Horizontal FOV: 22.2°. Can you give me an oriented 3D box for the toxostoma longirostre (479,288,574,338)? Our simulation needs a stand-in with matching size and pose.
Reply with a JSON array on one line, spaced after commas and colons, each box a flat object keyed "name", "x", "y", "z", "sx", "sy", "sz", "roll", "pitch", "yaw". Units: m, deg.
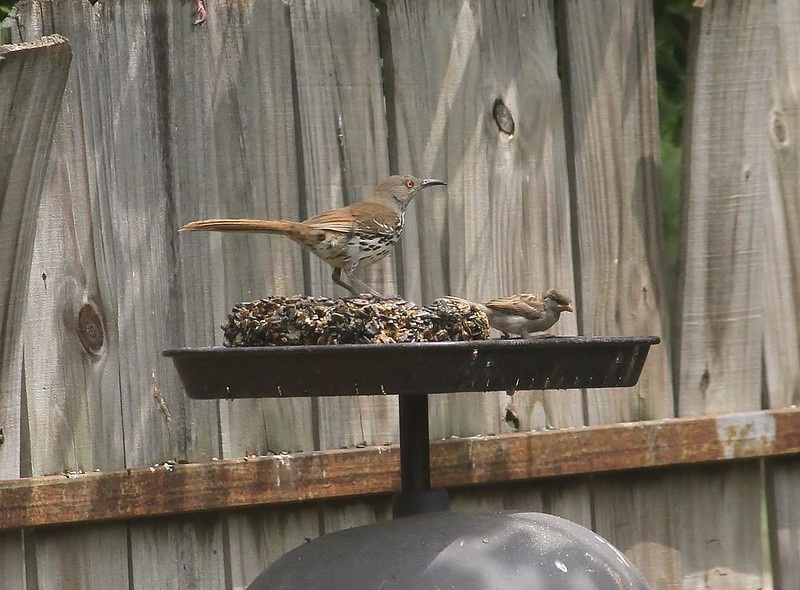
[{"name": "toxostoma longirostre", "x": 0.511, "y": 0.085, "z": 9.726, "sx": 0.611, "sy": 0.231, "sz": 0.188, "roll": 1, "pitch": 0, "yaw": 0}]

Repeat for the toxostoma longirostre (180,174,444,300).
[{"name": "toxostoma longirostre", "x": -0.297, "y": -0.274, "z": 9.611, "sx": 1.258, "sy": 0.550, "sz": 0.398, "roll": -8, "pitch": 11, "yaw": -34}]
